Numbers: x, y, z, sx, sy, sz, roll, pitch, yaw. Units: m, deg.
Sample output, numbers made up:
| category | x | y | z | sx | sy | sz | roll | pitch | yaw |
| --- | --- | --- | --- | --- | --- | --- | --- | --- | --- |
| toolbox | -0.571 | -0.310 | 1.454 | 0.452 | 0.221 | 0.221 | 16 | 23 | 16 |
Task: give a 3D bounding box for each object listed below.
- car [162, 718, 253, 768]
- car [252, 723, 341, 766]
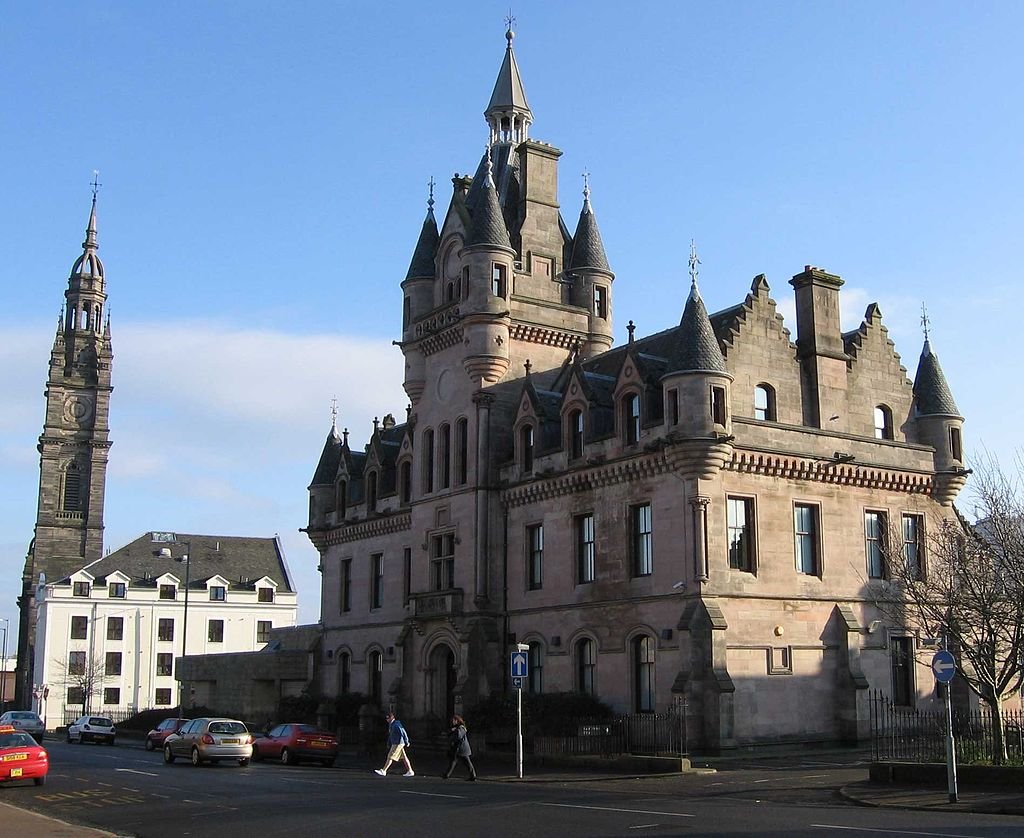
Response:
| category | x | y | z | sx | sy | sz | roll | pitch | yaw |
| --- | --- | --- | --- | --- | --- | --- | --- | --- | --- |
| car | -11.237 | 11.858 | 54.494 | 1.716 | 1.414 | 3.930 | 6 | -12 | -27 |
| car | -8.193 | 12.230 | 55.791 | 1.547 | 1.109 | 3.292 | 8 | -12 | -35 |
